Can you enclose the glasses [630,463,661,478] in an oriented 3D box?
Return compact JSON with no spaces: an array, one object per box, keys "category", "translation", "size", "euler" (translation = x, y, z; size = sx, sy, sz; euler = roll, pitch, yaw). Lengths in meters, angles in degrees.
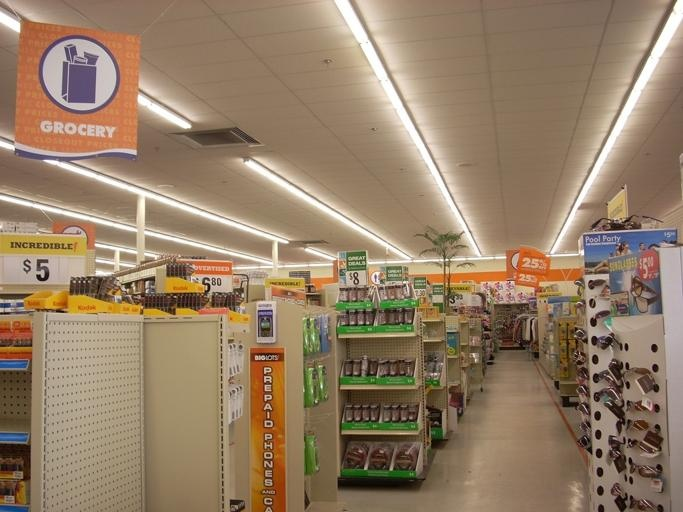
[{"category":"glasses","translation":[1.853,1.323,3.145],"size":[0.072,0.056,0.189],"euler":[-2,0,-33]}]
